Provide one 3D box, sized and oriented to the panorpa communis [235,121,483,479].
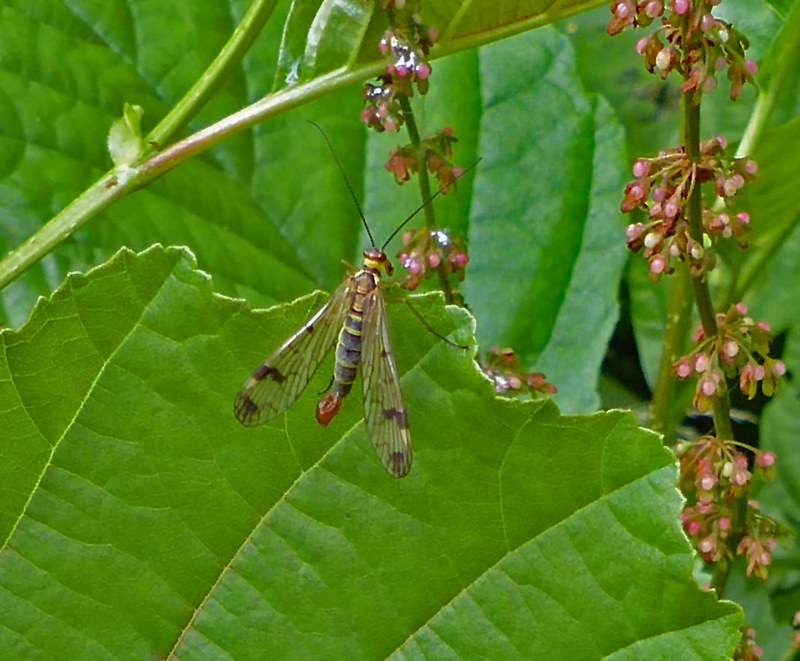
[{"bbox_3d":[-0.050,-0.001,1.817,0.350,0.573,0.154,9,-14,19],"label":"panorpa communis"}]
